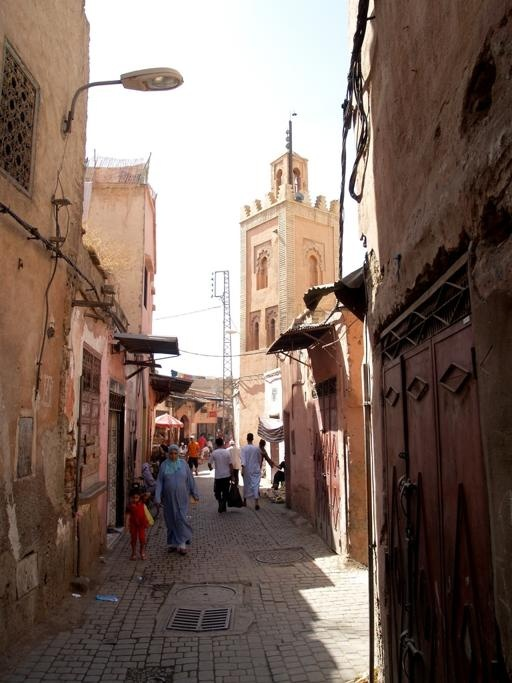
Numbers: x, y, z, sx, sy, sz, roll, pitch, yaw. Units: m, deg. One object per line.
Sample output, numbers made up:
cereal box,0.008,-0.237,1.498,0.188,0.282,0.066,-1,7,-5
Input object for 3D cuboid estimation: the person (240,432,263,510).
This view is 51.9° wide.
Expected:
person,-0.135,3.086,12.735,0.453,1.727,1.464,1,-8,-1

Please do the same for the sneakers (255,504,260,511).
sneakers,0.019,3.786,12.038,0.055,0.124,0.156,-2,-6,-5

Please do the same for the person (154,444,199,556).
person,-1.215,2.396,7.976,0.427,1.772,0.516,-1,22,-2

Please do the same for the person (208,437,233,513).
person,-0.796,2.965,11.767,0.481,1.596,1.277,1,-8,-5
